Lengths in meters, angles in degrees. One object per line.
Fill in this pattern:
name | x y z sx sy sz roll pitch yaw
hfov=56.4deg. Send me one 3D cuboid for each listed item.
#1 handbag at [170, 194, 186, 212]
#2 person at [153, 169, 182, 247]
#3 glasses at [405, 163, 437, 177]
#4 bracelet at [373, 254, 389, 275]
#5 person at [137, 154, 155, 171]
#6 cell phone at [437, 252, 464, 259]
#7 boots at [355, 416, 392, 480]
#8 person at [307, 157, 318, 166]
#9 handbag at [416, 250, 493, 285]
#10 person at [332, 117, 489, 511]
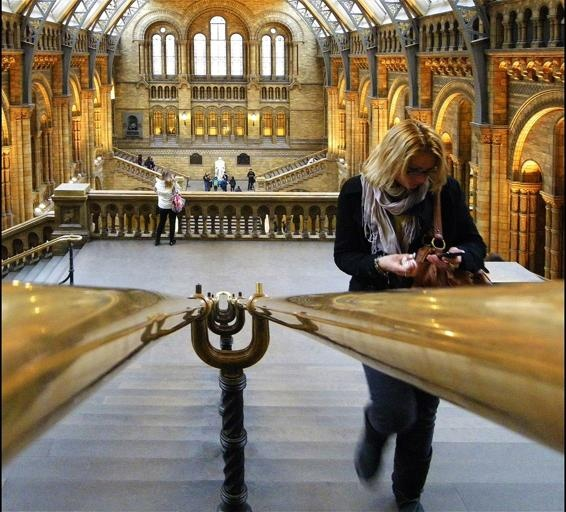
handbag | -2.480 -1.253 12.361 0.160 0.321 0.296 9 35 31
person | -2.656 -1.116 12.312 0.676 1.701 1.354 -2 9 -13
glasses | 0.628 -0.391 2.436 0.122 0.044 0.052 -3 9 -14
bracelet | 0.491 0.046 2.635 0.068 0.105 0.141 1 9 11
person | -11.620 -7.916 44.941 1.763 0.694 1.278 4 -1 -22
cell phone | 0.784 -0.003 2.472 0.079 0.015 0.142 -4 -10 30
boots | 0.481 1.020 2.779 0.145 0.489 0.136 -22 50 -10
person | 2.400 -7.879 43.893 0.763 0.402 1.068 -16 29 31
handbag | 0.816 0.087 2.502 0.310 0.133 0.246 -1 -2 -6
person | 0.644 0.289 2.721 0.743 1.900 0.714 0 8 3
